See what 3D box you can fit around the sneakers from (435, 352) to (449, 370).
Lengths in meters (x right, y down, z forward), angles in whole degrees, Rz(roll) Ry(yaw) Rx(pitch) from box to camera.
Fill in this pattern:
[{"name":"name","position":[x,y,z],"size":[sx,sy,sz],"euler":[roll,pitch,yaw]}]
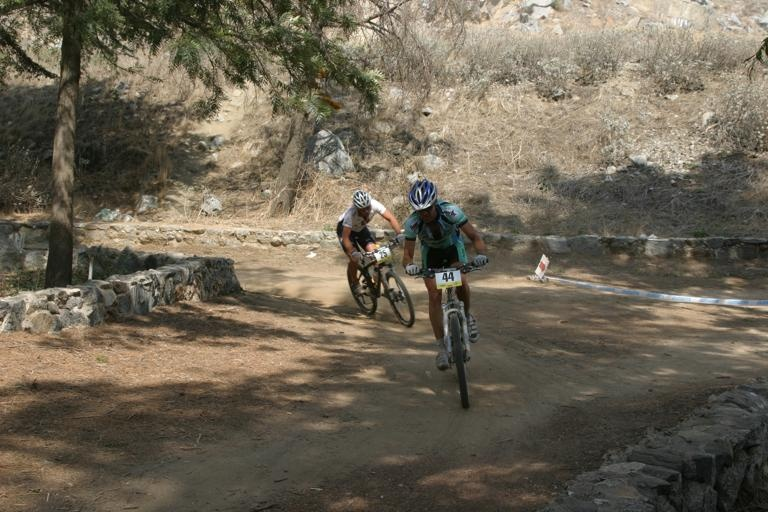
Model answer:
[{"name":"sneakers","position":[0.905,1.622,11.727],"size":[0.224,0.250,0.257],"euler":[3,19,1]}]

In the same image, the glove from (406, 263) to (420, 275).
[{"name":"glove","position":[0.434,0.203,11.619],"size":[0.223,0.193,0.262],"euler":[-3,2,3]}]

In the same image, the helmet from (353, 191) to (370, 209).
[{"name":"helmet","position":[-0.418,-1.071,14.202],"size":[0.324,0.350,0.374],"euler":[-3,2,-1]}]

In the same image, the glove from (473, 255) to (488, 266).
[{"name":"glove","position":[1.488,0.072,11.613],"size":[0.195,0.071,0.177],"euler":[3,9,11]}]

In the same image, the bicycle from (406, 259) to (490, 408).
[{"name":"bicycle","position":[1.164,1.153,11.633],"size":[0.877,2.133,1.115],"euler":[-4,2,-20]}]

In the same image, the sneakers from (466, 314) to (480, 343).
[{"name":"sneakers","position":[1.419,1.128,12.016],"size":[0.193,0.474,0.218],"euler":[-7,-28,7]}]

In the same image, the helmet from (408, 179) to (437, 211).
[{"name":"helmet","position":[0.627,-0.953,11.650],"size":[0.413,0.502,0.228],"euler":[0,-18,13]}]
